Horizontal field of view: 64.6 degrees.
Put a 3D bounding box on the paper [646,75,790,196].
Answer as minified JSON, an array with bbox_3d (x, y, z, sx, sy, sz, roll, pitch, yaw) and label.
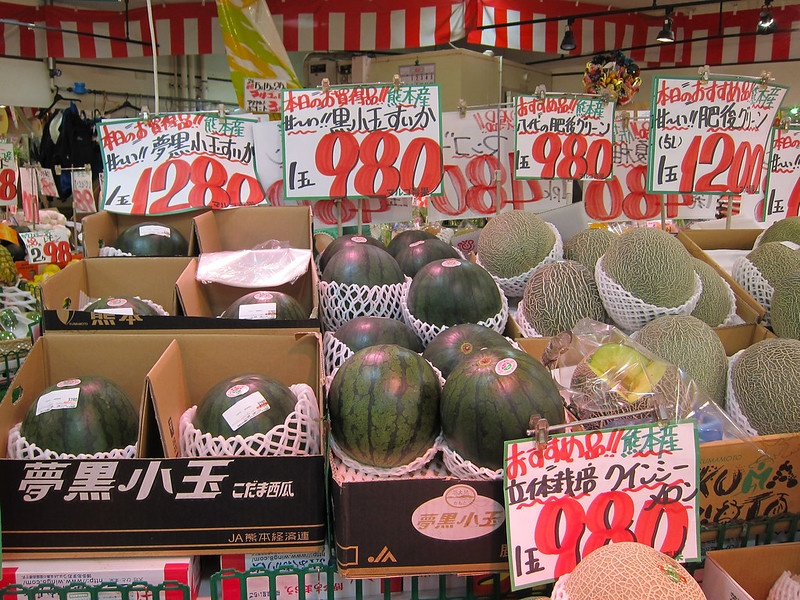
[{"bbox_3d":[2.039,-1.071,4.112,0.779,0.718,0.043,-3,13,-7],"label":"paper"}]

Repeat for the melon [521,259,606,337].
[{"bbox_3d":[0.781,-0.015,3.280,0.348,0.508,0.361,-4,2,-13],"label":"melon"}]

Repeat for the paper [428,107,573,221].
[{"bbox_3d":[0.669,-0.966,4.375,0.765,0.659,0.045,-7,24,-4],"label":"paper"}]

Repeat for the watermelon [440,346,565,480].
[{"bbox_3d":[0.336,0.452,2.332,0.373,0.539,0.399,-8,21,2],"label":"watermelon"}]

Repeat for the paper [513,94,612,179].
[{"bbox_3d":[1.058,-1.106,4.204,0.457,0.403,0.058,-3,14,-7],"label":"paper"}]

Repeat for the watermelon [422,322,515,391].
[{"bbox_3d":[0.257,0.220,2.603,0.241,0.162,0.240,-4,27,12],"label":"watermelon"}]

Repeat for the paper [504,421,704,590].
[{"bbox_3d":[0.636,0.652,1.999,0.439,0.386,0.008,-7,7,-11],"label":"paper"}]

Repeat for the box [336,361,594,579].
[{"bbox_3d":[0.204,0.587,2.103,0.530,0.292,0.629,-2,22,-4],"label":"box"}]

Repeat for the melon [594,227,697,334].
[{"bbox_3d":[1.184,-0.061,3.278,0.416,0.517,0.491,19,37,25],"label":"melon"}]

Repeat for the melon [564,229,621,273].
[{"bbox_3d":[1.112,-0.274,3.661,0.255,0.246,0.223,-7,-2,10],"label":"melon"}]

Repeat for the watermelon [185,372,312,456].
[{"bbox_3d":[-0.505,0.366,2.309,0.270,0.213,0.310,-7,7,-9],"label":"watermelon"}]

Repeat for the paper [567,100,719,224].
[{"bbox_3d":[1.623,-0.955,4.324,0.809,0.712,0.032,-2,14,-5],"label":"paper"}]

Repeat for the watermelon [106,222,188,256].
[{"bbox_3d":[-1.425,-0.337,3.692,0.227,0.196,0.304,0,2,3],"label":"watermelon"}]

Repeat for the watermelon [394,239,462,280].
[{"bbox_3d":[0.148,-0.262,3.430,0.248,0.235,0.213,-5,14,-19],"label":"watermelon"}]

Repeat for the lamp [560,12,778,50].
[{"bbox_3d":[4.205,-4.159,9.866,3.805,0.796,1.321,-7,24,-14],"label":"lamp"}]

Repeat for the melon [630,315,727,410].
[{"bbox_3d":[1.229,0.246,2.907,0.360,0.535,0.381,-6,-1,-4],"label":"melon"}]

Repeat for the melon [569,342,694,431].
[{"bbox_3d":[0.841,0.312,2.320,0.294,0.255,0.354,-12,2,-10],"label":"melon"}]

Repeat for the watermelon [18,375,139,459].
[{"bbox_3d":[-1.139,0.423,2.275,0.323,0.267,0.276,21,34,-37],"label":"watermelon"}]

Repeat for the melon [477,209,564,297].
[{"bbox_3d":[0.701,-0.323,3.742,0.396,0.532,0.502,-8,22,2],"label":"melon"}]

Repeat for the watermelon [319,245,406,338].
[{"bbox_3d":[-0.196,-0.112,3.195,0.360,0.527,0.389,-4,16,-10],"label":"watermelon"}]
